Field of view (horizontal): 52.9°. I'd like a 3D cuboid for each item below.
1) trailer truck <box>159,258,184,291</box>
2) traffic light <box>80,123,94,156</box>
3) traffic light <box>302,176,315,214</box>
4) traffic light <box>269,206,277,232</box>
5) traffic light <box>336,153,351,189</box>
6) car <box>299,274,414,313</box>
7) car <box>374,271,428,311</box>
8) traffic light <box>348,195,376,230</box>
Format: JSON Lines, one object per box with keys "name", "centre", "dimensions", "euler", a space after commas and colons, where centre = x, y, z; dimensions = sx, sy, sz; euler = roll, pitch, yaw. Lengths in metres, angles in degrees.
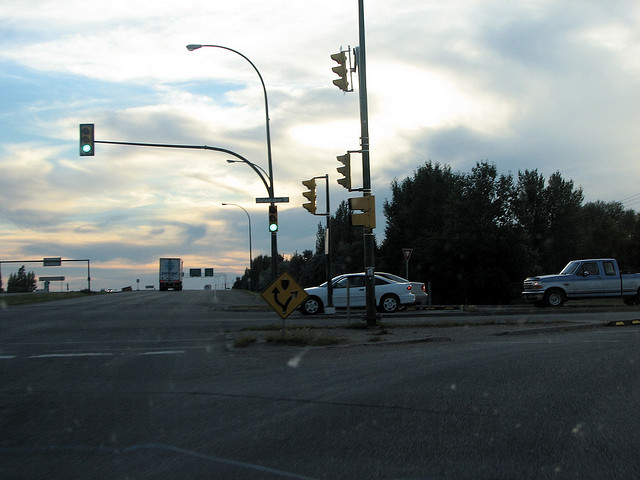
{"name": "trailer truck", "centre": [-17.061, 3.821, 72.572], "dimensions": [3.516, 3.686, 6.510], "euler": [0, 0, -4]}
{"name": "traffic light", "centre": [-8.829, -3.798, 24.199], "dimensions": [0.491, 1.168, 0.198], "euler": [-2, 2, -36]}
{"name": "traffic light", "centre": [-0.463, -1.653, 23.892], "dimensions": [0.427, 1.304, 1.302], "euler": [-1, 0, -1]}
{"name": "traffic light", "centre": [-1.972, -0.886, 26.324], "dimensions": [0.286, 1.038, 0.274], "euler": [-1, 1, -23]}
{"name": "traffic light", "centre": [0.698, -2.030, 19.194], "dimensions": [0.442, 1.182, 0.239], "euler": [-4, -21, 7]}
{"name": "car", "centre": [1.493, 2.002, 25.906], "dimensions": [4.468, 1.561, 1.843], "euler": [2, -6, 5]}
{"name": "car", "centre": [2.866, 2.129, 26.870], "dimensions": [3.084, 1.170, 1.395], "euler": [2, -5, 11]}
{"name": "traffic light", "centre": [1.157, -0.804, 18.412], "dimensions": [0.721, 0.985, 0.678], "euler": [-1, 1, 7]}
